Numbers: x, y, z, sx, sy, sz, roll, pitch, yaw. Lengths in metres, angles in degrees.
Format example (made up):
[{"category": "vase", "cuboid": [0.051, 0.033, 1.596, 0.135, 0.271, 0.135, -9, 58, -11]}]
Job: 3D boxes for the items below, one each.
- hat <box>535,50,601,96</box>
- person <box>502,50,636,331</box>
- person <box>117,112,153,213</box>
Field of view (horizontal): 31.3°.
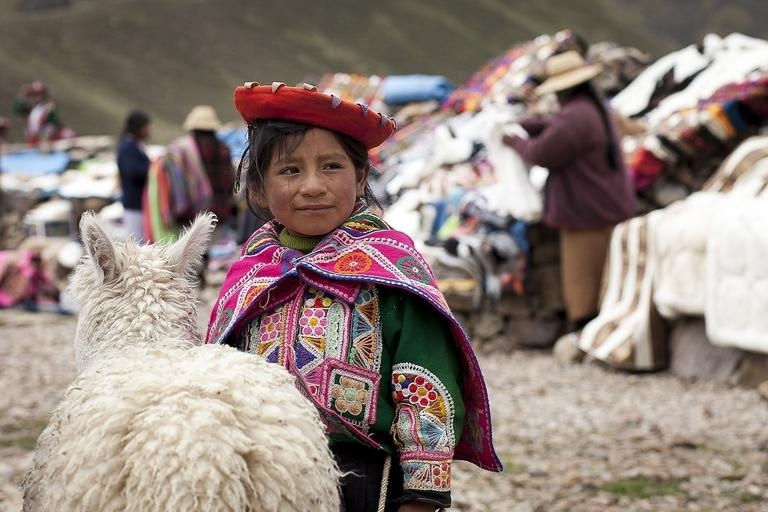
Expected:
[{"category": "hat", "cuboid": [1.612, -1.607, 12.062, 0.531, 0.292, 0.128, -21, -18, 0]}, {"category": "person", "cuboid": [1.720, -0.565, 12.253, 1.041, 2.513, 0.524, 4, 9, 14]}, {"category": "person", "cuboid": [-2.605, -0.980, 14.123, 0.320, 1.018, 0.479, 0, 9, -9]}]
